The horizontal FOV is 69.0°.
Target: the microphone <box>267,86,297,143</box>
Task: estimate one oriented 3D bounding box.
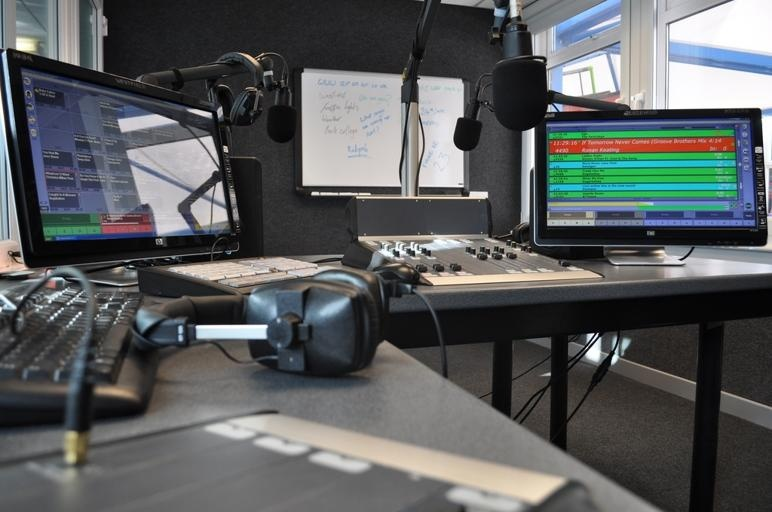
[{"bbox_3d":[-0.361,-0.476,1.915,0.102,0.185,0.048,-4,14,-17],"label":"microphone"}]

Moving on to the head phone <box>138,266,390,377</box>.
[{"bbox_3d":[-0.184,0.082,0.940,0.283,0.087,0.223,1,4,5],"label":"head phone"}]

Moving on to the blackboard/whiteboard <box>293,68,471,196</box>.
[{"bbox_3d":[-0.106,-0.855,3.804,1.392,0.818,0.052,-1,4,-12],"label":"blackboard/whiteboard"}]

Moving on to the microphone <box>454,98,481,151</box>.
[{"bbox_3d":[0.296,-0.476,2.056,0.091,0.173,0.216,-1,11,8],"label":"microphone"}]
